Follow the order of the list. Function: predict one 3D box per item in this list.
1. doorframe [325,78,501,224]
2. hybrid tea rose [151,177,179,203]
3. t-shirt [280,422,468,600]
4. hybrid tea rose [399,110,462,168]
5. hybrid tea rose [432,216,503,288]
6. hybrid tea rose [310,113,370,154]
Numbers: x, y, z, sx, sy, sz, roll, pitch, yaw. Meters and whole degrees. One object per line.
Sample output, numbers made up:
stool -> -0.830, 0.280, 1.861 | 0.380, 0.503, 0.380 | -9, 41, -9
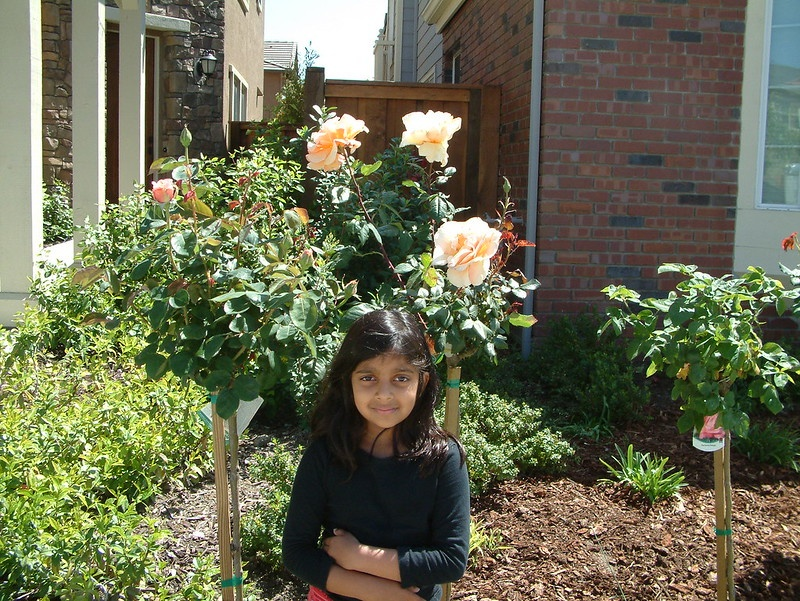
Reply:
doorframe -> 0.062, -1.432, 7.012 | 1.549, 1.815, 0.130 | -4, -25, 5
hybrid tea rose -> -0.931, -0.432, 2.792 | 0.091, 0.097, 0.175 | -1, 10, -19
t-shirt -> -0.091, 0.737, 2.913 | 0.786, 0.883, 0.494 | 9, -9, 5
hybrid tea rose -> 0.144, -0.785, 3.313 | 0.257, 0.299, 0.156 | 3, 27, 2
hybrid tea rose -> 0.270, -0.194, 2.836 | 0.263, 0.265, 0.131 | 2, 8, 4
hybrid tea rose -> -0.284, -0.742, 3.112 | 0.238, 0.174, 0.248 | 0, 9, -11
